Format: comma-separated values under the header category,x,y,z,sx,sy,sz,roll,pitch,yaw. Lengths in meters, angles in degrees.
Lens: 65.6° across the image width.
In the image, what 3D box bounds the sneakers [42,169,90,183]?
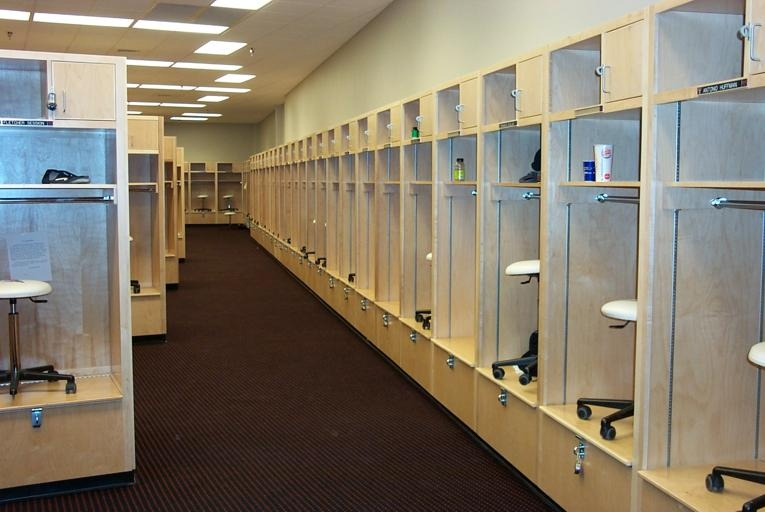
category,x,y,z,sx,sy,sz,roll,pitch,yaw
sneakers,-2.348,-0.582,4.377,0.239,0.079,0.171,-2,5,-18
